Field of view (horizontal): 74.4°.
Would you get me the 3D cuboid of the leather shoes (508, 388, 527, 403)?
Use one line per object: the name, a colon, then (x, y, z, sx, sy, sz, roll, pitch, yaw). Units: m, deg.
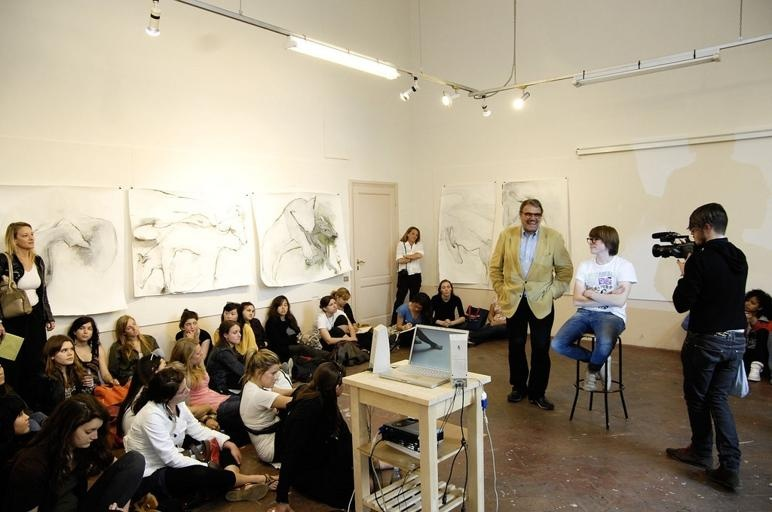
leather shoes: (1.454, 1.572, 5.663, 0.098, 0.104, 0.233, -4, -9, 34)

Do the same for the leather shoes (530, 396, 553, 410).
leather shoes: (1.689, 1.602, 5.527, 0.095, 0.100, 0.229, -1, 1, -42)

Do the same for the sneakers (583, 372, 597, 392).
sneakers: (2.053, 1.277, 5.132, 0.111, 0.260, 0.154, 4, 14, 20)

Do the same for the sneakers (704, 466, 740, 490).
sneakers: (2.779, 1.835, 4.277, 0.105, 0.135, 0.303, 3, 5, -13)

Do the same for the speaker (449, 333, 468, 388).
speaker: (0.538, 0.781, 3.786, 0.123, 0.341, 0.234, 0, 13, 7)

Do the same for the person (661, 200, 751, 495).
person: (2.739, 0.739, 4.260, 0.628, 2.280, 0.501, 10, 17, 39)

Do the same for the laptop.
laptop: (0.382, 0.687, 3.896, 0.513, 0.334, 0.455, 1, -3, 40)

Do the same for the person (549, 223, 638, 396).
person: (2.087, 0.526, 5.113, 0.592, 1.589, 0.653, 9, 16, 37)

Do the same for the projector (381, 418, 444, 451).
projector: (0.134, 1.306, 3.855, 0.233, 0.107, 0.306, 1, -2, -38)

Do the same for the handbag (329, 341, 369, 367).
handbag: (-0.505, 1.352, 6.949, 0.450, 0.269, 0.583, -1, -5, 20)

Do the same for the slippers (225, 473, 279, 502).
slippers: (-1.128, 1.976, 4.322, 0.484, 0.174, 0.213, -14, 25, 6)

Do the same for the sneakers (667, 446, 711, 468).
sneakers: (2.663, 1.779, 4.493, 0.118, 0.144, 0.317, 8, 0, -41)
